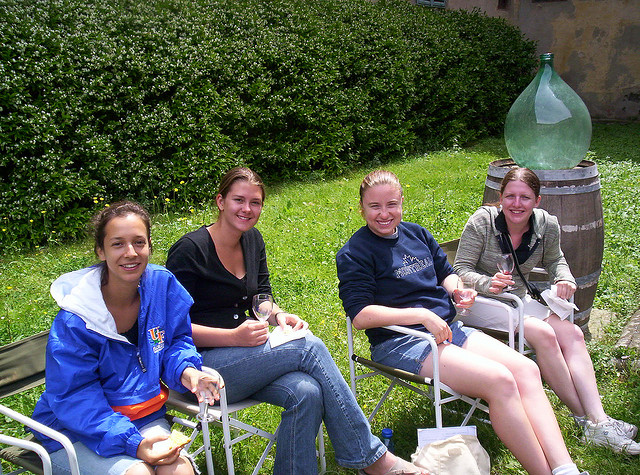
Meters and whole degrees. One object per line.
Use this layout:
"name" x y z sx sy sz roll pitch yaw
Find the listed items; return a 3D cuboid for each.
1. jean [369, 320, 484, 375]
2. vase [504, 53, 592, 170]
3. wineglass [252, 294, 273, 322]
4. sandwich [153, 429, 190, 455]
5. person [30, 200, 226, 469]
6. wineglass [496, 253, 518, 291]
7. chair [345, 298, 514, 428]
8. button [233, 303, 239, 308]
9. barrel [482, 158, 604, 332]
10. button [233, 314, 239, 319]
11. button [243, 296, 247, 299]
"jean" 0.562 0.735 3.444 0.437 0.121 0.353 -21 21 -39
"vase" 2.123 -1.178 5.048 0.931 1.281 0.949 5 17 31
"wineglass" -0.343 0.417 3.237 0.102 0.150 0.225 -3 11 14
"sandwich" -0.779 1.059 2.724 0.108 0.035 0.107 -30 10 -14
"person" -1.075 0.534 2.813 0.938 1.374 0.644 -12 13 -28
"wineglass" 1.346 0.198 3.803 0.118 0.211 0.306 -2 12 20
"chair" 0.738 0.800 3.832 1.000 1.017 0.955 1 5 43
"button" -0.539 0.432 3.368 0.024 0.025 0.007 -1 -19 -10
"barrel" 1.960 0.160 4.494 0.837 1.574 0.754 -1 12 23
"button" -0.539 0.505 3.359 0.027 0.027 0.007 2 -16 -17
"button" -0.479 0.388 3.388 0.013 0.026 0.041 -1 12 23
